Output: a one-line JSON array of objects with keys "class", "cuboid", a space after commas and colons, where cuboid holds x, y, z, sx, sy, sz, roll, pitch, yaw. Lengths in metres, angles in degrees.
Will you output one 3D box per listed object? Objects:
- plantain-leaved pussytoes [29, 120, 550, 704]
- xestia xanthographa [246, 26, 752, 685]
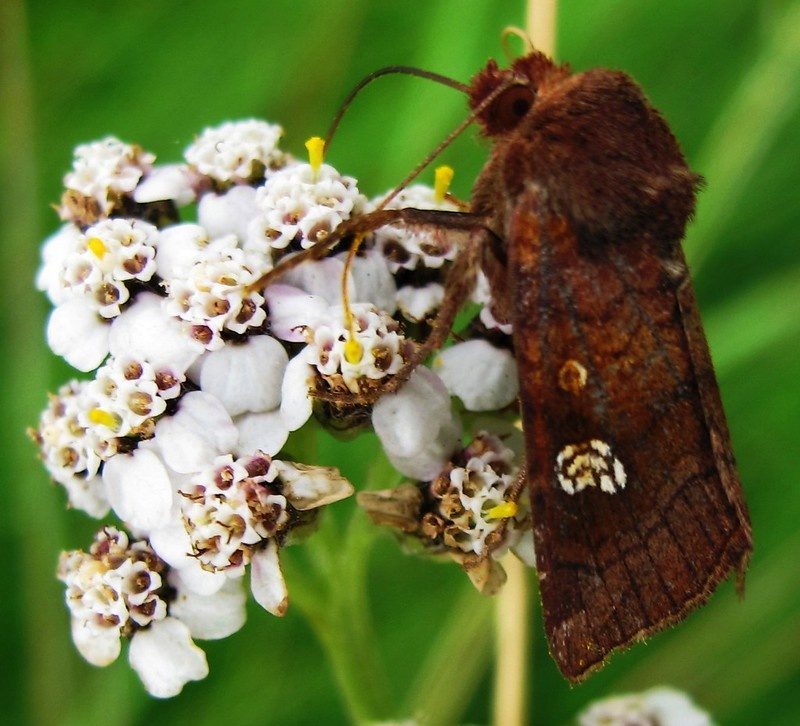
[{"class": "plantain-leaved pussytoes", "cuboid": [-0.218, 0.011, 2.033, 0.705, 1.016, 1.053, 3, 17, 31]}, {"class": "xestia xanthographa", "cuboid": [0.148, -0.019, 2.185, 1.039, 1.043, 0.669, -12, 16, -38]}]
